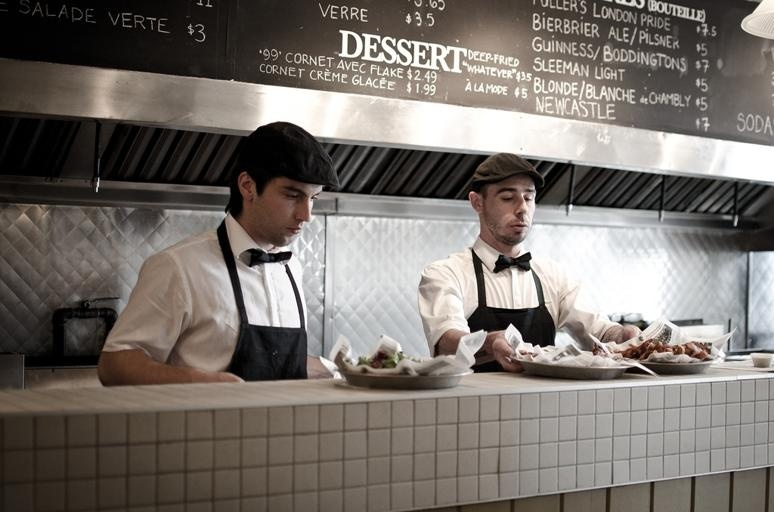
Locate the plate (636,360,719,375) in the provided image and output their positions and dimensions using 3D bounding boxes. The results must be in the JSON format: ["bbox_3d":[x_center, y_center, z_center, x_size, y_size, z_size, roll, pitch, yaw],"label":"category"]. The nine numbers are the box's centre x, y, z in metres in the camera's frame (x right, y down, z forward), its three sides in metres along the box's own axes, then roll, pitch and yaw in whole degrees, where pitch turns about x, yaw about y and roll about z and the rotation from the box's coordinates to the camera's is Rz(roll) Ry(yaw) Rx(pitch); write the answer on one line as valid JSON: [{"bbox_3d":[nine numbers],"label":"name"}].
[{"bbox_3d":[1.215,0.457,2.758,0.301,0.073,0.087,4,10,-9],"label":"plate"}]

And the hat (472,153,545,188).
[{"bbox_3d":[0.626,-0.430,3.419,0.357,0.195,0.164,7,10,9],"label":"hat"}]

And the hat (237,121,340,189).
[{"bbox_3d":[-0.418,-0.451,2.855,0.432,0.235,0.323,17,21,32],"label":"hat"}]

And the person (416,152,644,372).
[{"bbox_3d":[0.664,-0.011,3.341,0.941,0.979,0.618,4,9,-10],"label":"person"}]

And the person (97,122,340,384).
[{"bbox_3d":[-0.676,-0.017,2.723,0.849,1.096,0.489,-1,11,-35],"label":"person"}]
